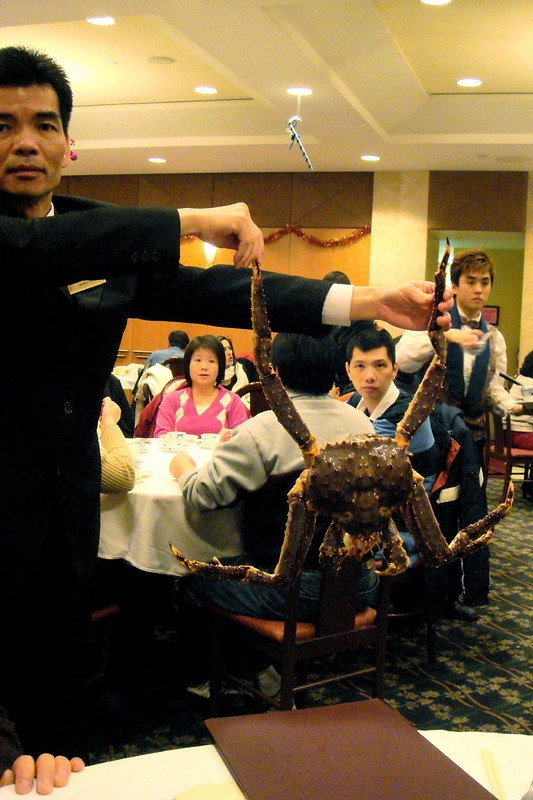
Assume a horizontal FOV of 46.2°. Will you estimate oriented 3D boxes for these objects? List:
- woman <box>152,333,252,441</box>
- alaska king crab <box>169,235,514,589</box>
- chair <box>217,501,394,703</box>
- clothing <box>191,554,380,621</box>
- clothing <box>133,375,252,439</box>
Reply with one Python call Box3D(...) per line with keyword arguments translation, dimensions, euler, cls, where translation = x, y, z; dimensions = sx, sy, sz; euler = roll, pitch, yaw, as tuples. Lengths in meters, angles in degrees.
Box3D(translation=(-0.383, 0.001, 3.669), dimensions=(0.543, 0.742, 0.451), euler=(2, 1, -1), cls="woman")
Box3D(translation=(0.061, 0.026, 0.460), dimensions=(0.261, 0.266, 0.146), euler=(2, 7, -24), cls="alaska king crab")
Box3D(translation=(0.135, 0.666, 2.004), dimensions=(0.515, 0.646, 0.532), euler=(2, 2, 23), cls="chair")
Box3D(translation=(0.018, 0.608, 1.933), dimensions=(0.622, 0.184, 0.461), euler=(1, -10, -2), cls="clothing")
Box3D(translation=(-0.360, 0.041, 4.035), dimensions=(0.677, 0.342, 0.833), euler=(1, 6, 37), cls="clothing")
